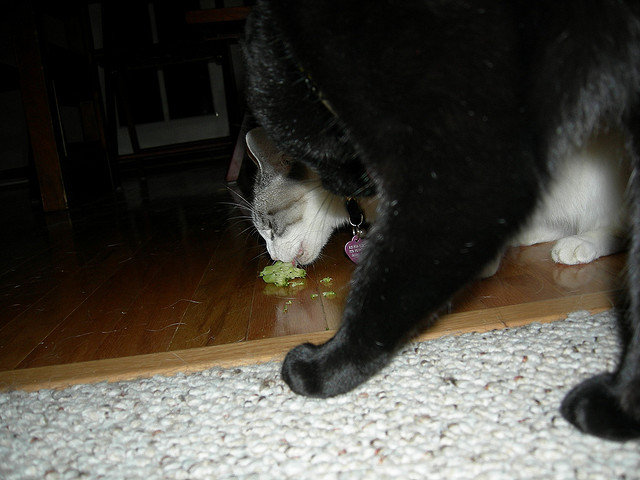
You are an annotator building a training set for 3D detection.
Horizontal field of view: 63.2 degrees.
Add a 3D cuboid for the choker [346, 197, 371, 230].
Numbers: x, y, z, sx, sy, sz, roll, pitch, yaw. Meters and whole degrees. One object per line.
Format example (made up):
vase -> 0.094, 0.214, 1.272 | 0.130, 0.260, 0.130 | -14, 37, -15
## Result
choker -> 0.100, -0.077, 1.425 | 0.057, 0.107, 0.086 | -1, 24, 3
